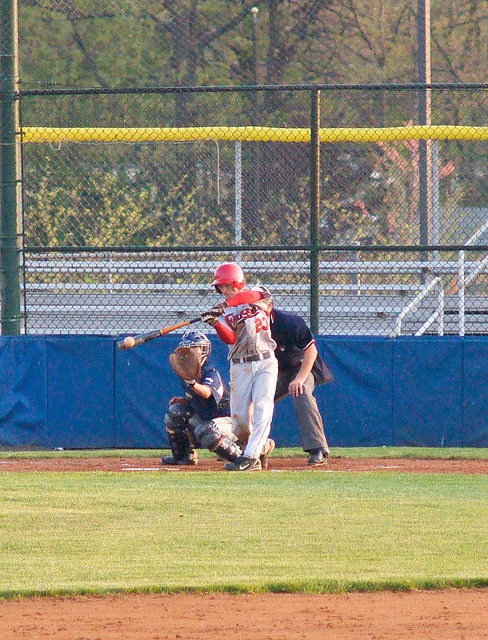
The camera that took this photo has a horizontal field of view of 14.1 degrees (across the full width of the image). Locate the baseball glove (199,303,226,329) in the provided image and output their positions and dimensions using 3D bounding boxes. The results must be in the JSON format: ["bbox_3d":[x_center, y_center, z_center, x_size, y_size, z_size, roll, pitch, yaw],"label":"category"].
[{"bbox_3d":[-0.284,-0.050,16.181,0.162,0.053,0.165,-42,-6,0],"label":"baseball glove"}]

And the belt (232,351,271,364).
[{"bbox_3d":[0.052,0.329,16.595,0.314,0.099,0.083,0,1,-6],"label":"belt"}]

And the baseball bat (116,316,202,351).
[{"bbox_3d":[-0.801,0.138,18.188,0.122,0.191,1.373,-37,-14,29],"label":"baseball bat"}]

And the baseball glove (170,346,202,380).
[{"bbox_3d":[-0.516,0.372,16.792,0.285,0.289,0.192,0,1,-15],"label":"baseball glove"}]

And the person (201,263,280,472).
[{"bbox_3d":[-0.024,0.399,16.584,0.595,1.762,0.757,0,1,1],"label":"person"}]
